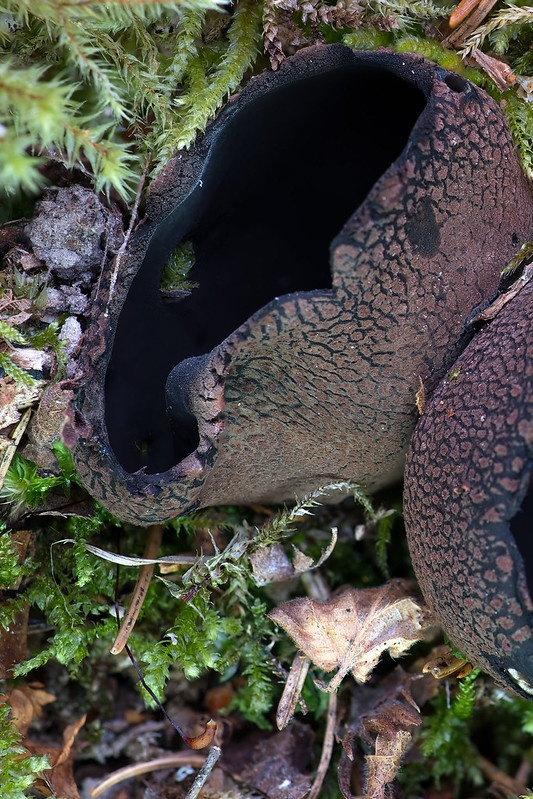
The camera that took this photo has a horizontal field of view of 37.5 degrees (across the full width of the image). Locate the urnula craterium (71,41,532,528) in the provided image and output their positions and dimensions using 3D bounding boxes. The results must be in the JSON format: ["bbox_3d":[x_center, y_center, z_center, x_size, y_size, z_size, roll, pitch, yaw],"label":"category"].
[{"bbox_3d":[0.071,-0.168,1.454,0.412,0.877,0.665,-5,54,-56],"label":"urnula craterium"}]
